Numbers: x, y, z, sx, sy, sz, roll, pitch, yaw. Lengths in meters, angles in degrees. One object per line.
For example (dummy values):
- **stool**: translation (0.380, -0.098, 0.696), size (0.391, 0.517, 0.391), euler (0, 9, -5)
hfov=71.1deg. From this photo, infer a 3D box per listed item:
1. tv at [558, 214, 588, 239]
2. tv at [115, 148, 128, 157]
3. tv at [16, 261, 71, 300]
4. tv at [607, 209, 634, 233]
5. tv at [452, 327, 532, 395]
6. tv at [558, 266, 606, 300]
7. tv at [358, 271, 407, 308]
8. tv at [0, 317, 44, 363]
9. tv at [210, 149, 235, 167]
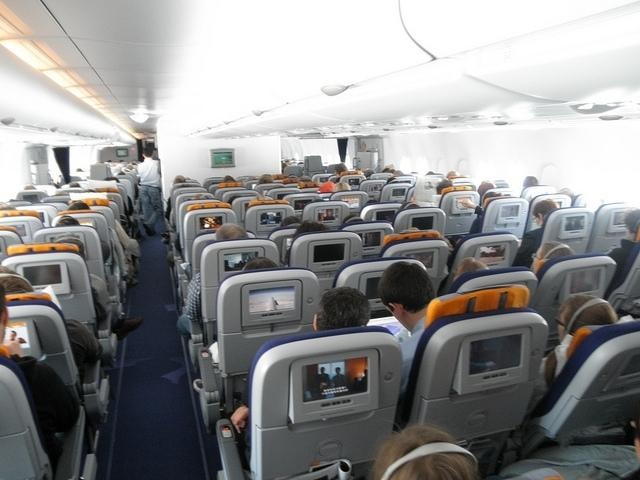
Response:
- **tv**: translation (3.166, -0.183, 5.599), size (0.403, 0.287, 0.108), euler (-1, 20, -16)
- **tv**: translation (-15.582, -6.756, 34.779), size (0.506, 0.498, 0.885), euler (8, 9, 37)
- **tv**: translation (-2.355, 0.337, 3.851), size (0.474, 0.256, 0.091), euler (-4, 22, -7)
- **tv**: translation (3.736, -0.250, 5.554), size (0.431, 0.301, 0.051), euler (-1, 20, -19)
- **tv**: translation (0.884, 0.611, 2.329), size (0.467, 0.243, 0.239), euler (-4, 18, -14)
- **tv**: translation (2.110, 0.334, 3.608), size (0.419, 0.226, 0.046), euler (-2, 36, -15)
- **tv**: translation (0.425, 0.320, 3.044), size (0.373, 0.320, 0.041), euler (-12, 36, -18)
- **tv**: translation (-1.824, 0.613, 2.737), size (0.184, 0.317, 0.107), euler (-7, 13, -28)
- **tv**: translation (-3.480, -2.867, 15.587), size (0.794, 0.510, 0.364), euler (-3, 21, -17)
